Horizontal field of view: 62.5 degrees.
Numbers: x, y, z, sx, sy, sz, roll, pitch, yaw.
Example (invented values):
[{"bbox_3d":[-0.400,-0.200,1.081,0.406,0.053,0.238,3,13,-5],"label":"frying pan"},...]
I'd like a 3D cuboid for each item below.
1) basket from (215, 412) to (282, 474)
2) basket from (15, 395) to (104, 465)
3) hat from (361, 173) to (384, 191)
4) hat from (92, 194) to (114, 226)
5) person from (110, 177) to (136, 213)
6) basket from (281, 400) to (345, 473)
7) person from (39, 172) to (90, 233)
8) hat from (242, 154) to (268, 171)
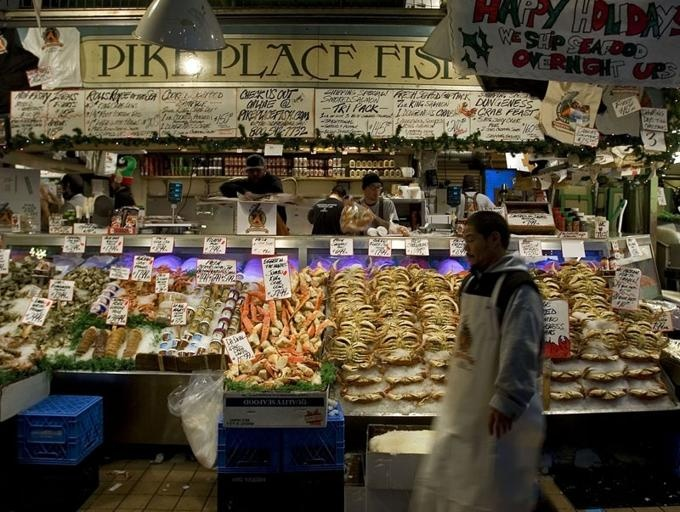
[{"bbox_3d":[-0.586,1.098,3.625,0.493,0.396,0.302,0,2,-1],"label":"basket"},{"bbox_3d":[-1.918,1.194,3.861,0.460,0.397,0.340,-3,4,5],"label":"basket"},{"bbox_3d":[0.327,-0.814,5.977,0.165,0.182,0.212,-2,-8,-33],"label":"hat"},{"bbox_3d":[-2.070,-0.387,4.906,0.172,0.285,0.228,-4,4,-12],"label":"hat"},{"bbox_3d":[-2.432,-0.715,6.234,0.231,0.413,1.978,-4,5,-21],"label":"person"},{"bbox_3d":[-0.178,1.180,3.657,0.335,0.359,0.349,-1,0,-17],"label":"basket"},{"bbox_3d":[-2.849,-0.545,5.805,0.320,0.330,0.883,-1,1,-30],"label":"person"},{"bbox_3d":[-0.839,-0.926,5.533,0.178,0.169,0.315,-4,5,-13],"label":"hat"}]
